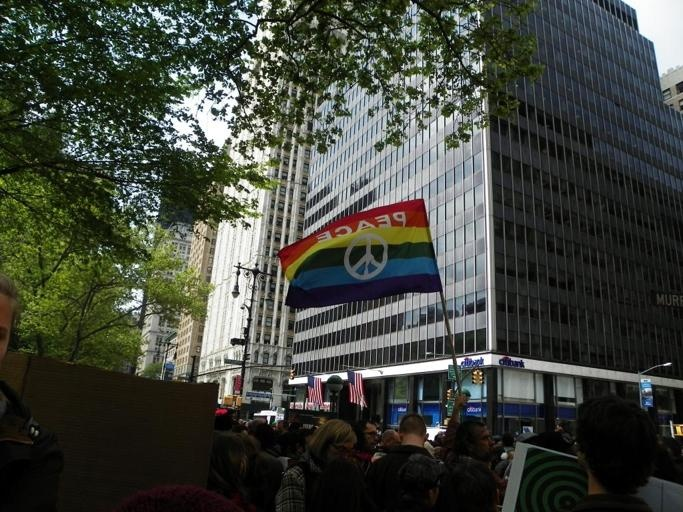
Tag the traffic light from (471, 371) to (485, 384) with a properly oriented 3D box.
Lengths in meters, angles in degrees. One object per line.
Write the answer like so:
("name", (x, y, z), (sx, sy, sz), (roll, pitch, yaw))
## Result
("traffic light", (8.264, 7.287, 32.511), (0.577, 0.967, 1.653), (1, -20, 11))
